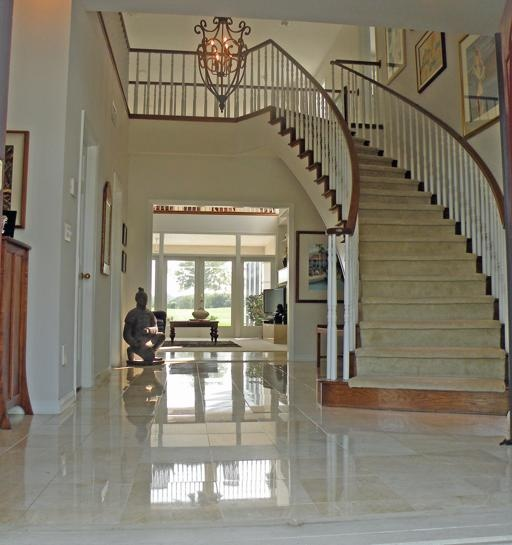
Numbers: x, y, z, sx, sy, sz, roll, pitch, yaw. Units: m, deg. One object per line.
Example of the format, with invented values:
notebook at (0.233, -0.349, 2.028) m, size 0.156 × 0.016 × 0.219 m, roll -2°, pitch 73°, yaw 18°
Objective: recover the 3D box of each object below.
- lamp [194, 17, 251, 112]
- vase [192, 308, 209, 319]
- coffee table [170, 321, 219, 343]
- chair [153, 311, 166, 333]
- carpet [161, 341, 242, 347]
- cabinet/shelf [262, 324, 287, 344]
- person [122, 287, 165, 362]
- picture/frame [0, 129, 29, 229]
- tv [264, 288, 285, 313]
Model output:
lamp at (-0.324, -2.131, 4.523) m, size 0.428 × 1.110 × 0.451 m, roll 1°, pitch 0°, yaw -36°
vase at (-1.256, 0.939, 10.591) m, size 0.248 × 0.202 × 0.265 m, roll -3°, pitch 9°, yaw -25°
coffee table at (-1.436, 1.318, 10.659) m, size 0.977 × 0.482 × 1.786 m, roll 1°, pitch -5°, yaw -10°
chair at (-1.562, 0.804, 7.748) m, size 0.275 × 0.459 × 0.388 m, roll 1°, pitch -5°, yaw -10°
carpet at (-1.205, 1.510, 10.050) m, size 1.509 × 0.058 × 2.223 m, roll 1°, pitch -5°, yaw -9°
cabinet/shelf at (0.431, 1.400, 10.912) m, size 0.479 × 0.437 × 1.829 m, roll 1°, pitch -5°, yaw -1°
person at (-1.399, 0.693, 5.896) m, size 0.484 × 0.978 × 0.800 m, roll 1°, pitch -5°, yaw -9°
picture/frame at (-1.557, -0.576, 3.041) m, size 0.031 × 0.916 × 0.703 m, roll 0°, pitch 4°, yaw -18°
tv at (0.428, 0.718, 11.271) m, size 0.296 × 0.629 × 1.165 m, roll 2°, pitch -5°, yaw -18°
